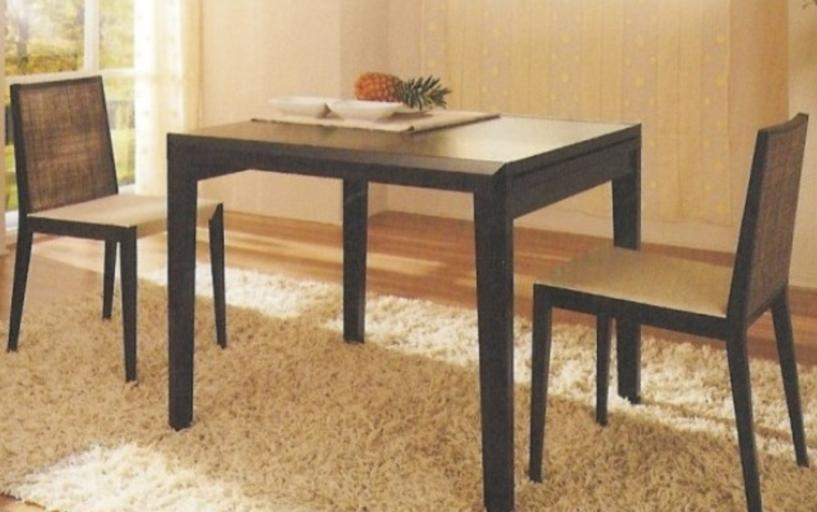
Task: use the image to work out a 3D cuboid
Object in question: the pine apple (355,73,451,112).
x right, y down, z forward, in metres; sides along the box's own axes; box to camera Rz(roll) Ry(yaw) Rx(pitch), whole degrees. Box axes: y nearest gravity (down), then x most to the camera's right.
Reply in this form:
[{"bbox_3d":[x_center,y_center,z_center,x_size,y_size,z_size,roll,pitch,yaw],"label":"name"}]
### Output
[{"bbox_3d":[-0.028,-0.689,3.141,0.359,0.143,0.131,13,7,17],"label":"pine apple"}]
